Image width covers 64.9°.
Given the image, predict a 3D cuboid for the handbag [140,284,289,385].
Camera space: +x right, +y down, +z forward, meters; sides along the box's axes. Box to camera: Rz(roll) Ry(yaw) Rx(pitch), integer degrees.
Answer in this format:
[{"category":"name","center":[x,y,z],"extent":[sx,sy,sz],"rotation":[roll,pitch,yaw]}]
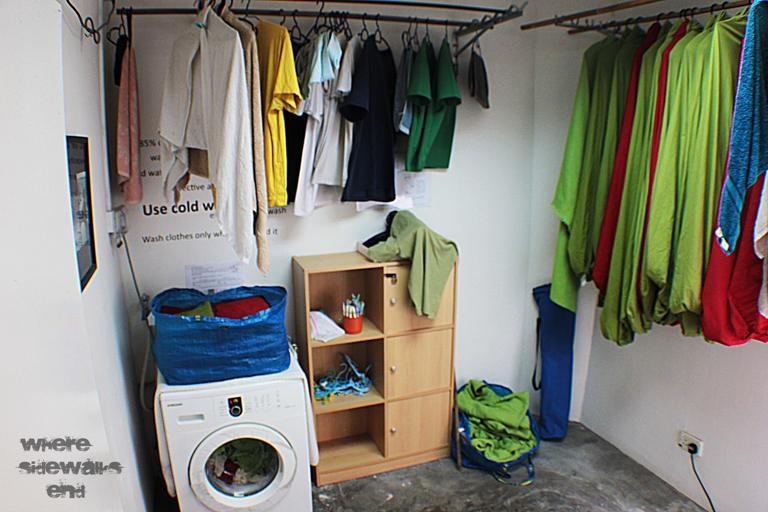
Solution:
[{"category":"handbag","center":[-0.855,0.387,3.181],"extent":[0.685,0.395,0.446],"rotation":[-5,12,-11]}]

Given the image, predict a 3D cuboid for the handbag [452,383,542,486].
[{"category":"handbag","center":[0.693,1.074,3.780],"extent":[0.517,0.419,0.486],"rotation":[1,13,16]}]

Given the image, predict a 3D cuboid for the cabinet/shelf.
[{"category":"cabinet/shelf","center":[-0.049,0.641,3.548],"extent":[0.982,1.518,0.497],"rotation":[-7,18,-16]}]

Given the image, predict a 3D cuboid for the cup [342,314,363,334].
[{"category":"cup","center":[-0.182,0.394,3.521],"extent":[0.093,0.112,0.103],"rotation":[-6,13,-29]}]
